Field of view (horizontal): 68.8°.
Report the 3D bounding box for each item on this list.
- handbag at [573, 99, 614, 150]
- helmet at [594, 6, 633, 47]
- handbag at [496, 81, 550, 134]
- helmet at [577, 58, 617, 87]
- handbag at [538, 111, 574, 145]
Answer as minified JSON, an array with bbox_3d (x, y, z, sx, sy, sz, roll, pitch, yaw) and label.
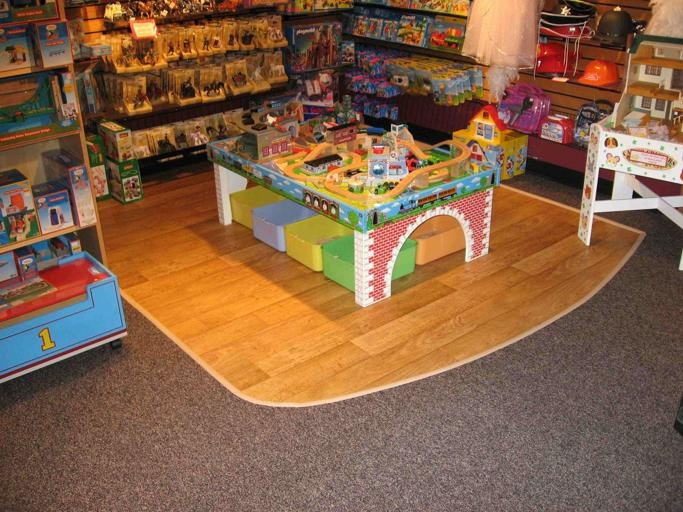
[{"bbox_3d":[2.708,-1.447,5.367,0.323,0.497,0.446,13,35,19],"label":"handbag"},{"bbox_3d":[2.690,-2.230,4.862,0.327,0.312,0.327,15,35,23],"label":"helmet"},{"bbox_3d":[2.034,-1.638,5.858,0.609,0.478,0.505,6,0,-24],"label":"handbag"},{"bbox_3d":[2.649,-1.864,5.124,0.384,0.183,0.272,-21,42,-27],"label":"helmet"},{"bbox_3d":[2.382,-1.382,5.481,0.363,0.247,0.209,10,34,16],"label":"handbag"}]
